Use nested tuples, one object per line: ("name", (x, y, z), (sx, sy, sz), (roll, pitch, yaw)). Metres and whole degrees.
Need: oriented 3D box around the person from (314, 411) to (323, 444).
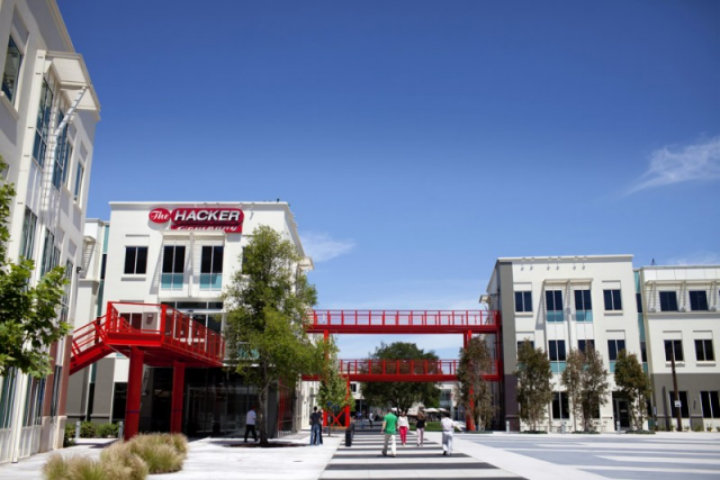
("person", (-2.613, 11.489, 33.825), (0.459, 1.965, 0.834), (-1, -17, 3))
